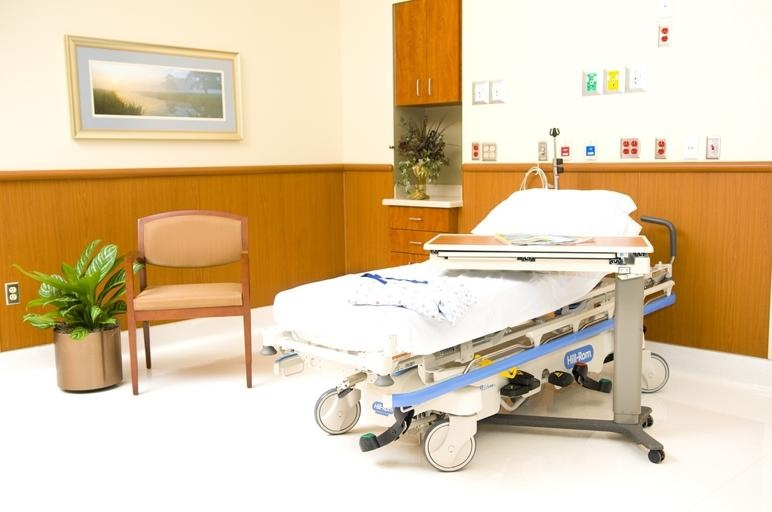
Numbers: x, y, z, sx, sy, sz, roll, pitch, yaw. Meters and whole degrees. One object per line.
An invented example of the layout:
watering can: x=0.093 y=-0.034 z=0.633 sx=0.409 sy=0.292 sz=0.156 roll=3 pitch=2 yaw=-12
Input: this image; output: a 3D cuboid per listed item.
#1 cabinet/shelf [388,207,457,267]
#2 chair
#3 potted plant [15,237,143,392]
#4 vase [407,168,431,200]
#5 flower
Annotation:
cabinet/shelf: x=0.309 y=-0.182 z=4.558 sx=0.538 sy=0.530 sz=0.211 roll=3 pitch=5 yaw=33
chair: x=-1.416 y=0.315 z=4.067 sx=0.886 sy=1.235 sz=0.828 roll=0 pitch=8 yaw=-8
potted plant: x=-2.104 y=0.420 z=4.000 sx=0.833 sy=0.954 sz=0.753 roll=-4 pitch=9 yaw=14
vase: x=0.318 y=-0.709 z=5.377 sx=0.298 sy=0.333 sz=0.295 roll=0 pitch=7 yaw=11
flower: x=0.363 y=-1.170 z=5.491 sx=0.604 sy=0.731 sz=0.542 roll=11 pitch=13 yaw=26
